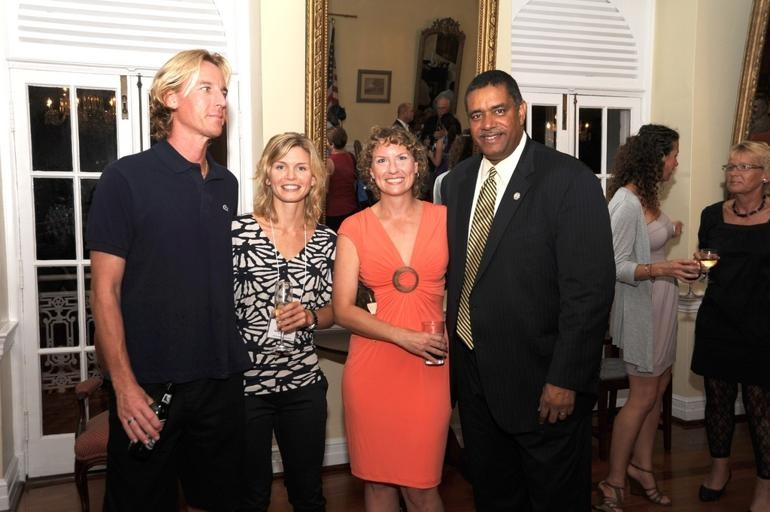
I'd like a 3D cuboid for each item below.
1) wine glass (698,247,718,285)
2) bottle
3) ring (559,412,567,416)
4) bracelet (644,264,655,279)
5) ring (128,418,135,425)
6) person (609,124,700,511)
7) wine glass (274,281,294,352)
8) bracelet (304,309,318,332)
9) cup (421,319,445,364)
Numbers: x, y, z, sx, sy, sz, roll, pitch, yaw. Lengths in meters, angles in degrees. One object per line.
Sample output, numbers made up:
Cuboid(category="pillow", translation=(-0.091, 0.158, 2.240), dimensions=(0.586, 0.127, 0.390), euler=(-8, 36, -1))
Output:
Cuboid(category="wine glass", translation=(2.076, 0.061, 3.808), dimensions=(0.112, 0.242, 0.485), euler=(2, 10, 29))
Cuboid(category="bottle", translation=(-0.991, 0.691, 2.465), dimensions=(0.080, 0.357, 0.158), euler=(14, -25, -3))
Cuboid(category="ring", translation=(0.833, 0.743, 2.761), dimensions=(0.019, 0.015, 0.019), euler=(1, 1, 0))
Cuboid(category="bracelet", translation=(1.670, 0.096, 3.715), dimensions=(0.032, 0.073, 0.052), euler=(-4, -3, 12))
Cuboid(category="ring", translation=(-1.044, 0.675, 2.411), dimensions=(0.025, 0.017, 0.025), euler=(14, -11, 3))
Cuboid(category="person", translation=(1.764, 0.427, 3.998), dimensions=(0.510, 2.579, 0.663), euler=(2, 8, 26))
Cuboid(category="wine glass", translation=(-0.502, 0.309, 2.911), dimensions=(0.086, 0.360, 0.084), euler=(-3, 8, -13))
Cuboid(category="bracelet", translation=(-0.372, 0.338, 3.028), dimensions=(0.063, 0.103, 0.093), euler=(1, 3, -19))
Cuboid(category="cup", translation=(0.244, 0.443, 2.955), dimensions=(0.105, 0.273, 0.147), euler=(-1, 8, 5))
